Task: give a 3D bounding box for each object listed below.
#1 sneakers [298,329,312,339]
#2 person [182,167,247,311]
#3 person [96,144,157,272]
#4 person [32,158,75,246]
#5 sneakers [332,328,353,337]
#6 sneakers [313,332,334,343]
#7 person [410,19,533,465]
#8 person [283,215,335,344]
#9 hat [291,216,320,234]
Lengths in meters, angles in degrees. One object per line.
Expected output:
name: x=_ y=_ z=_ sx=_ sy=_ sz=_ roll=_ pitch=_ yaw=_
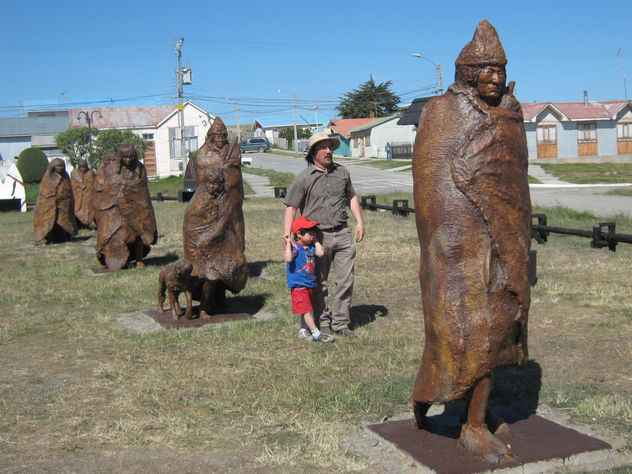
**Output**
sneakers: x=-0.146 y=1.142 z=9.294 sx=0.129 sy=0.094 sz=0.082 roll=0 pitch=4 yaw=7
person: x=-1.247 y=0.022 z=10.497 sx=0.746 sy=1.973 sz=1.393 roll=2 pitch=12 yaw=17
person: x=-3.422 y=-0.549 z=13.900 sx=1.070 sy=2.134 sz=0.800 roll=-2 pitch=12 yaw=-5
person: x=-6.146 y=-0.783 z=18.242 sx=0.566 sy=1.962 sz=1.218 roll=6 pitch=14 yaw=31
sneakers: x=0.324 y=1.138 z=9.465 sx=0.249 sy=0.111 sz=0.088 roll=11 pitch=2 yaw=18
sneakers: x=0.068 y=1.159 z=9.152 sx=0.212 sy=0.095 sz=0.111 roll=-1 pitch=4 yaw=11
person: x=1.327 y=-0.035 z=6.739 sx=1.008 sy=3.531 sz=0.875 roll=-1 pitch=12 yaw=2
person: x=-0.101 y=0.476 z=9.253 sx=0.516 sy=1.395 sz=0.507 roll=0 pitch=12 yaw=8
hat: x=-0.151 y=-0.130 z=9.172 sx=0.241 sy=0.144 sz=0.189 roll=-18 pitch=-4 yaw=24
